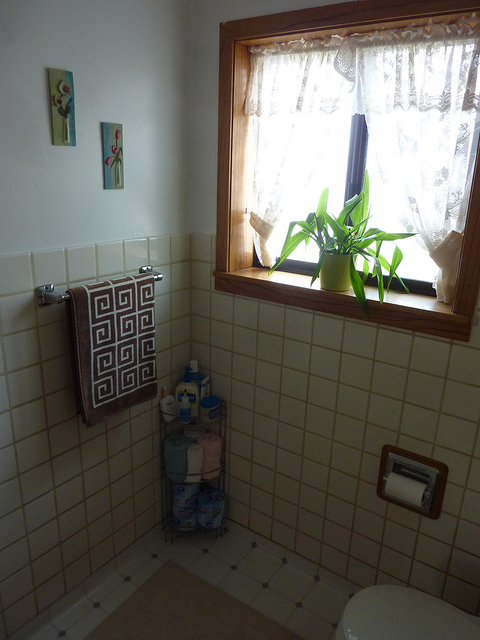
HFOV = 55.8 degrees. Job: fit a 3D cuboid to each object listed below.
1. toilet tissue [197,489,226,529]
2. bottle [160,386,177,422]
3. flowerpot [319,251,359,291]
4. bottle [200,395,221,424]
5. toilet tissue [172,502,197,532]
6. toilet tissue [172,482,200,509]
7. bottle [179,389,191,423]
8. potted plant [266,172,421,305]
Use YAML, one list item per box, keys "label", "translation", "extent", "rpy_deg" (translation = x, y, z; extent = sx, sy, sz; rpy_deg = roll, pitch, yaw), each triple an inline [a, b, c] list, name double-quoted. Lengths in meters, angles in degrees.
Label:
- label: "toilet tissue"
  translation: [-0.133, 0.807, 1.964]
  extent: [0.115, 0.149, 0.117]
  rpy_deg: [-8, 19, -41]
- label: "bottle"
  translation: [-0.289, 0.333, 1.823]
  extent: [0.053, 0.138, 0.074]
  rpy_deg: [2, 10, 3]
- label: "flowerpot"
  translation: [0.301, -0.150, 1.430]
  extent: [0.095, 0.134, 0.101]
  rpy_deg: [-3, 14, -15]
- label: "bottle"
  translation: [-0.125, 0.364, 1.847]
  extent: [0.061, 0.081, 0.096]
  rpy_deg: [0, 12, 4]
- label: "toilet tissue"
  translation: [-0.238, 0.838, 1.965]
  extent: [0.085, 0.124, 0.114]
  rpy_deg: [1, 9, 8]
- label: "toilet tissue"
  translation: [-0.230, 0.720, 1.878]
  extent: [0.080, 0.143, 0.069]
  rpy_deg: [7, 23, 12]
- label: "bottle"
  translation: [-0.224, 0.346, 1.822]
  extent: [0.046, 0.130, 0.028]
  rpy_deg: [0, 10, -10]
- label: "potted plant"
  translation: [0.337, -0.273, 1.436]
  extent: [0.412, 0.361, 0.276]
  rpy_deg: [8, 13, 26]
